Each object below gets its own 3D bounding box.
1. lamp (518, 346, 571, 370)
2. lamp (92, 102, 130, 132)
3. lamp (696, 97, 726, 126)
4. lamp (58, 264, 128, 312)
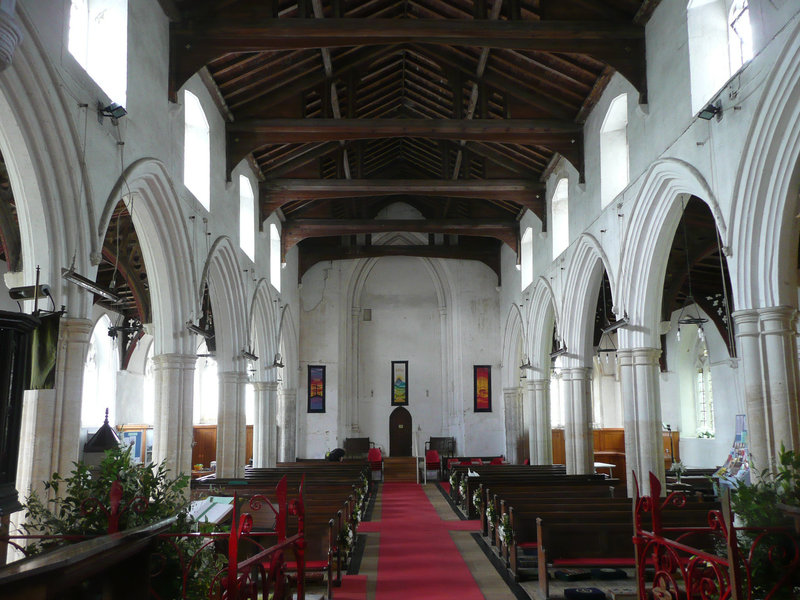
[{"bbox_3d":[4.063,1.619,20.079,1.056,0.633,1.092,2,-4,-33],"label":"lamp"},{"bbox_3d":[-3.962,-2.505,9.756,0.337,0.171,0.287,0,0,24],"label":"lamp"},{"bbox_3d":[4.422,-2.665,10.140,0.406,0.198,0.593,5,-12,7],"label":"lamp"},{"bbox_3d":[-5.148,-0.254,12.091,0.282,0.271,1.286,-15,-38,13],"label":"lamp"}]
